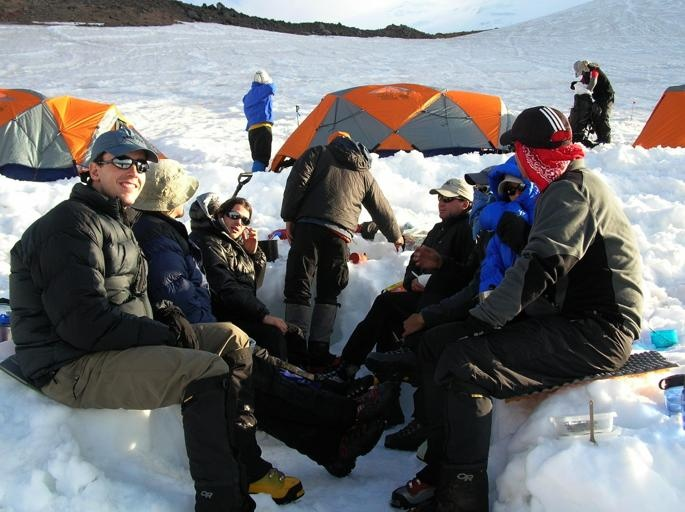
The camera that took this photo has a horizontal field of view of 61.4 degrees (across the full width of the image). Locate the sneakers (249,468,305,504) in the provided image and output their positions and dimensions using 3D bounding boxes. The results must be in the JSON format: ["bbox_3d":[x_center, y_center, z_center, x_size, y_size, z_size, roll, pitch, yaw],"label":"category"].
[{"bbox_3d":[-0.409,1.442,3.624,0.320,0.088,0.174,15,18,3],"label":"sneakers"}]

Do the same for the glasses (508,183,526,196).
[{"bbox_3d":[1.195,-0.459,3.988,0.079,0.026,0.077,-4,44,41],"label":"glasses"}]

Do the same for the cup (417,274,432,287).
[{"bbox_3d":[0.769,0.231,5.490,0.140,0.113,0.108,-12,12,6],"label":"cup"}]

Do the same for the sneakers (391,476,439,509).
[{"bbox_3d":[0.424,1.445,3.522,0.357,0.160,0.116,-10,54,26],"label":"sneakers"}]

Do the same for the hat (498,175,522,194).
[{"bbox_3d":[1.154,-0.493,3.983,0.155,0.068,0.107,23,-29,-30],"label":"hat"}]

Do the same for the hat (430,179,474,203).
[{"bbox_3d":[1.007,-0.600,5.284,0.334,0.152,0.221,11,-3,-16],"label":"hat"}]

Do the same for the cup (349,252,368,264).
[{"bbox_3d":[0.166,0.032,6.113,0.140,0.125,0.212,-15,-8,17],"label":"cup"}]

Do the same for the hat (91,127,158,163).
[{"bbox_3d":[-1.323,-0.680,3.502,0.329,0.150,0.224,-3,3,14],"label":"hat"}]

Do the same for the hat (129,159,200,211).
[{"bbox_3d":[-1.354,-0.529,4.461,0.465,0.187,0.344,-35,56,-28],"label":"hat"}]

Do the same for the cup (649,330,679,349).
[{"bbox_3d":[2.536,0.642,4.537,0.186,0.121,0.176,-1,2,0],"label":"cup"}]

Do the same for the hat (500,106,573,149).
[{"bbox_3d":[1.155,-0.775,3.481,0.267,0.174,0.354,-8,21,-24],"label":"hat"}]
